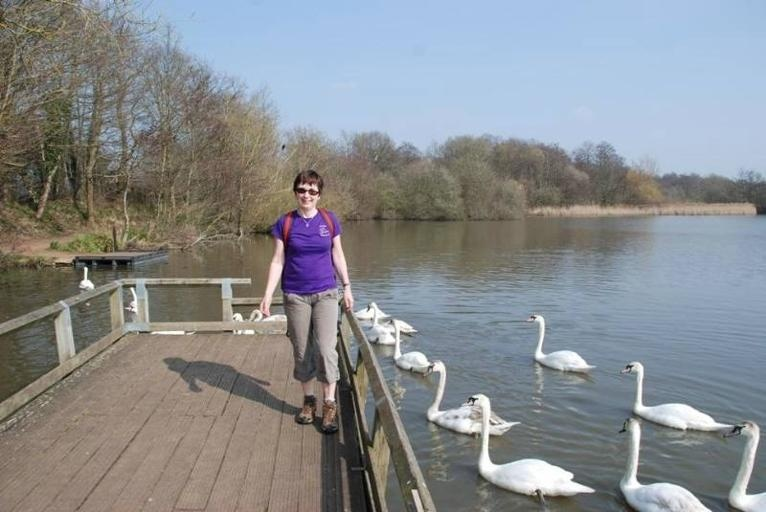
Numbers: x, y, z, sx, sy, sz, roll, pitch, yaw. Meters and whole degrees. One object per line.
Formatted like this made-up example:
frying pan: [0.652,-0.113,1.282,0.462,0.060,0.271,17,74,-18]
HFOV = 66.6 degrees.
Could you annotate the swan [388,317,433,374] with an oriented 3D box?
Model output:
swan: [0.690,2.231,13.882,0.569,1.019,1.540,1,2,-43]

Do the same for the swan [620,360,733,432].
swan: [5.680,2.782,11.338,0.732,1.116,2.011,2,-3,-40]

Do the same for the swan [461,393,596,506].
swan: [2.446,3.544,10.297,2.362,1.634,0.898,2,-6,18]

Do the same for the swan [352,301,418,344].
swan: [-0.118,1.940,16.593,1.535,1.092,2.841,0,-5,-13]

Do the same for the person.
person: [-1.018,0.630,8.232,1.127,3.677,0.754,-3,7,-4]

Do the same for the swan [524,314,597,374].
swan: [4.159,2.110,13.725,0.675,1.208,1.899,-4,5,-31]

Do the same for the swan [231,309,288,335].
swan: [-3.042,1.523,13.798,0.956,0.733,1.588,-3,-10,28]
